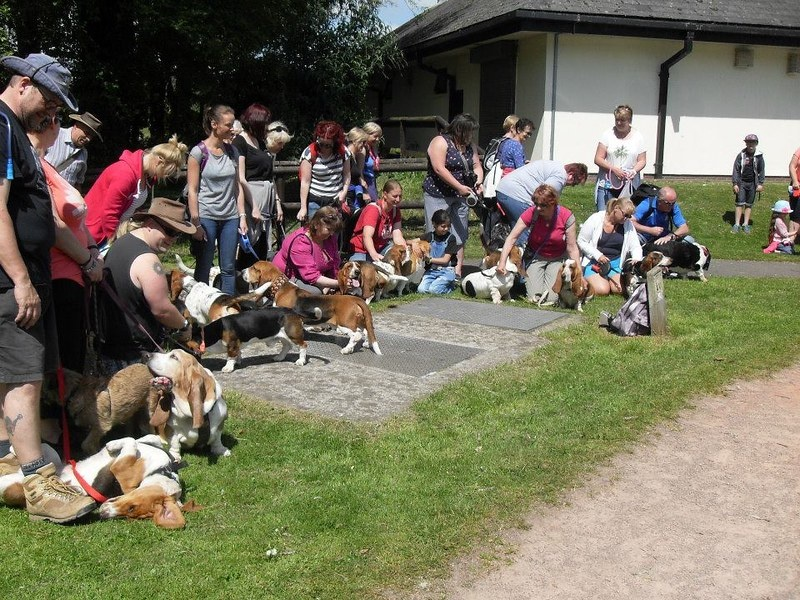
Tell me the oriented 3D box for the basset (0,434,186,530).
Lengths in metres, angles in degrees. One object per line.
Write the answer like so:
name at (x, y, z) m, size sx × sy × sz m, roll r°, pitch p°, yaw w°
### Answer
basset at (-1.899, 1.161, 5.304) m, size 0.997 × 0.604 × 0.492 m, roll 3°, pitch -35°, yaw 0°

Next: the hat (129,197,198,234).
hat at (-1.743, -0.620, 6.133) m, size 0.317 × 0.135 × 0.283 m, roll 25°, pitch -4°, yaw 1°

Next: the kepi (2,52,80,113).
kepi at (-2.272, -1.413, 5.187) m, size 0.391 × 0.180 × 0.343 m, roll 33°, pitch -6°, yaw -10°

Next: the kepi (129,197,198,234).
kepi at (-1.739, -0.617, 6.135) m, size 0.317 × 0.135 × 0.283 m, roll 25°, pitch -4°, yaw 1°

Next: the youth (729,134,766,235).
youth at (6.320, -2.088, 14.973) m, size 0.504 × 1.741 × 0.978 m, roll 8°, pitch 9°, yaw 24°

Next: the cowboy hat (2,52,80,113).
cowboy hat at (-2.243, -1.395, 5.194) m, size 0.391 × 0.180 × 0.343 m, roll 33°, pitch -6°, yaw -10°
